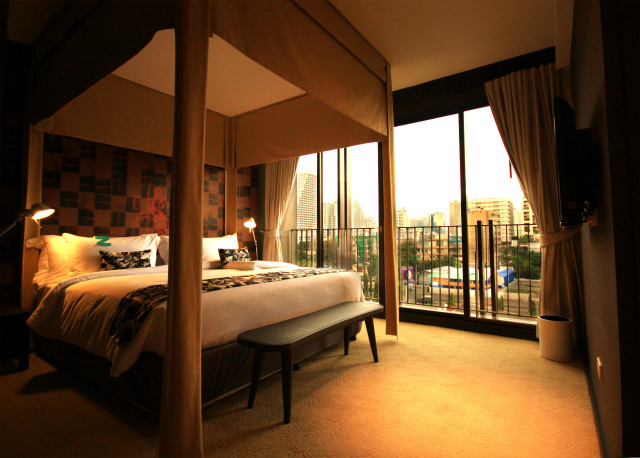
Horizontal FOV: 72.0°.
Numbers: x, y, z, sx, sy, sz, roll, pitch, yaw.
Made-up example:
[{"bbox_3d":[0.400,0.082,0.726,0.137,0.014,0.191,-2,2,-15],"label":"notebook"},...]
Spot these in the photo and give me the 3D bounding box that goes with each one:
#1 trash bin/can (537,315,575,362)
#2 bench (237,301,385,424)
[{"bbox_3d":[2.370,1.097,4.540,0.375,0.466,0.318,-1,3,-28],"label":"trash bin/can"},{"bbox_3d":[-0.070,1.112,4.018,0.540,0.720,1.415,12,19,41],"label":"bench"}]
